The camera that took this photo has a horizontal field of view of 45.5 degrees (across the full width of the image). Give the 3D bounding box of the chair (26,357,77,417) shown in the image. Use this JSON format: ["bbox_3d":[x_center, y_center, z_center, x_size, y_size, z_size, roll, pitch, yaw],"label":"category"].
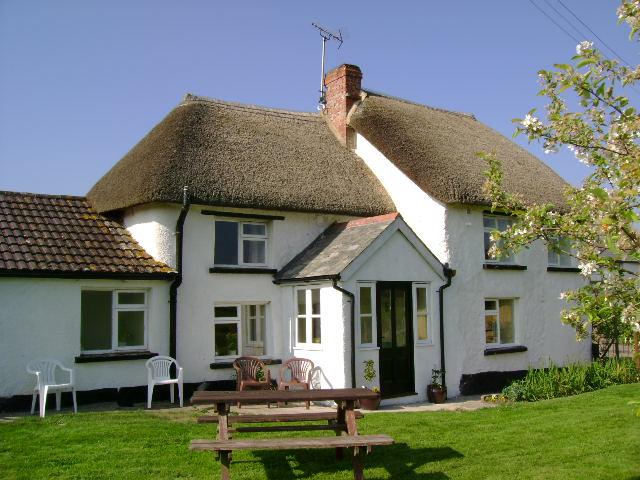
[{"bbox_3d":[-5.852,3.200,16.629,0.874,1.248,1.001,-3,-6,8],"label":"chair"}]

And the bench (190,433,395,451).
[{"bbox_3d":[-0.475,3.395,12.743,3.306,0.248,0.590,-2,-12,-3],"label":"bench"}]

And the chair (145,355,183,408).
[{"bbox_3d":[-3.634,3.304,17.662,0.823,1.173,0.900,-3,-4,43],"label":"chair"}]

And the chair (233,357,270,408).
[{"bbox_3d":[-1.471,3.274,18.210,0.890,1.357,0.915,1,-19,-10],"label":"chair"}]

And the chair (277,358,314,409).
[{"bbox_3d":[-0.566,3.448,18.219,0.767,1.181,0.814,0,-10,13],"label":"chair"}]

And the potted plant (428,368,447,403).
[{"bbox_3d":[2.915,3.589,18.931,0.477,0.894,0.508,0,-4,31],"label":"potted plant"}]
